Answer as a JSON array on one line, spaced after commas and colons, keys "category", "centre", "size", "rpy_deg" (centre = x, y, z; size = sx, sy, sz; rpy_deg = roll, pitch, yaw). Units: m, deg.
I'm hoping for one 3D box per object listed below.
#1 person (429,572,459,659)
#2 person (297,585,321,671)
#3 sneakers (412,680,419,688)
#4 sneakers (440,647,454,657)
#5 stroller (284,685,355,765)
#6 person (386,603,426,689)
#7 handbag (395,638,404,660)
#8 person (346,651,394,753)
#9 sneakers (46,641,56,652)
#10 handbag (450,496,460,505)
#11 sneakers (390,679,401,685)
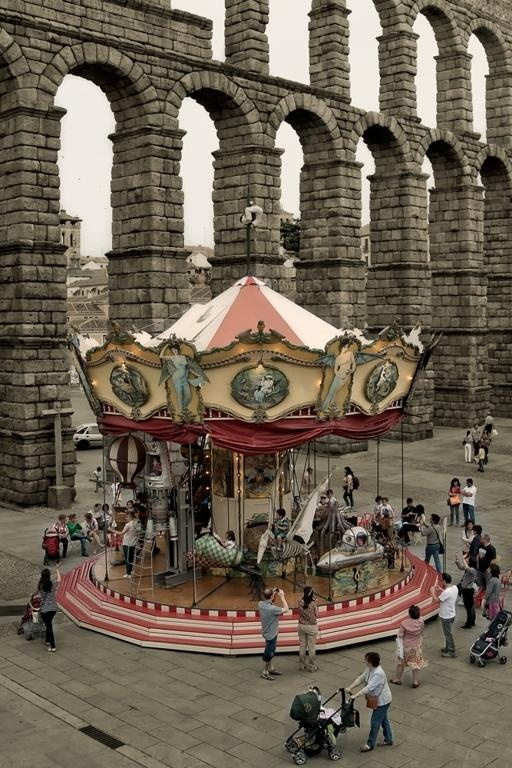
[{"category": "person", "centre": [2.650, 3.226, 12.378], "size": [0.308, 1.079, 0.738], "rpy_deg": [-1, 0, 13]}, {"category": "person", "centre": [0.680, 3.214, 11.569], "size": [0.251, 1.067, 0.623], "rpy_deg": [-1, 0, 3]}, {"category": "sneakers", "centre": [2.013, 3.820, 11.156], "size": [0.044, 0.048, 0.119], "rpy_deg": [2, 10, 14]}, {"category": "sneakers", "centre": [2.683, 3.783, 12.383], "size": [0.157, 0.149, 0.076], "rpy_deg": [-2, 12, 2]}, {"category": "stroller", "centre": [0.720, 3.599, 9.506], "size": [0.873, 0.763, 0.529], "rpy_deg": [-4, 7, -18]}, {"category": "person", "centre": [1.953, 3.322, 11.336], "size": [0.407, 0.988, 0.851], "rpy_deg": [-1, 1, 9]}, {"category": "handbag", "centre": [1.814, 3.348, 11.129], "size": [0.088, 0.281, 0.116], "rpy_deg": [-1, 0, 20]}, {"category": "person", "centre": [1.279, 3.417, 9.899], "size": [0.475, 0.988, 1.272], "rpy_deg": [-1, 1, 7]}, {"category": "sneakers", "centre": [-2.878, 3.753, 12.538], "size": [0.068, 0.077, 0.186], "rpy_deg": [1, 9, -25]}, {"category": "handbag", "centre": [4.532, 2.676, 20.141], "size": [0.222, 0.139, 0.220], "rpy_deg": [-4, 19, 4]}, {"category": "sneakers", "centre": [1.793, 3.834, 11.298], "size": [0.056, 0.046, 0.119], "rpy_deg": [-3, 12, -42]}]
